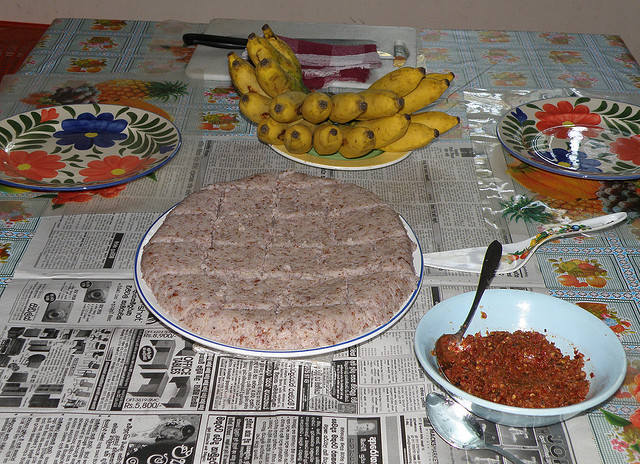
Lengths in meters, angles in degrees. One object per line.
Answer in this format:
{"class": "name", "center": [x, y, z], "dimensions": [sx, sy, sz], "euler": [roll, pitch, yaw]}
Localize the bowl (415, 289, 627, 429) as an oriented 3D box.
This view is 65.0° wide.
{"class": "bowl", "center": [0.441, 0.277, 1.137], "dimensions": [0.470, 0.153, 0.320], "euler": [-1, 46, -2]}
